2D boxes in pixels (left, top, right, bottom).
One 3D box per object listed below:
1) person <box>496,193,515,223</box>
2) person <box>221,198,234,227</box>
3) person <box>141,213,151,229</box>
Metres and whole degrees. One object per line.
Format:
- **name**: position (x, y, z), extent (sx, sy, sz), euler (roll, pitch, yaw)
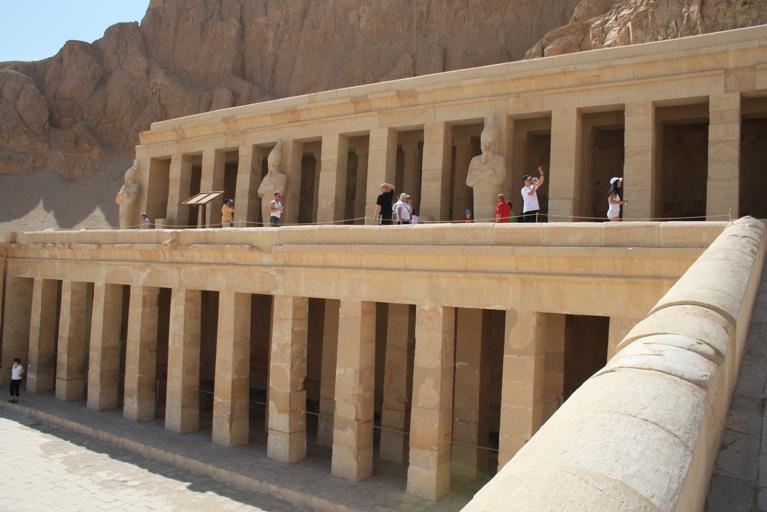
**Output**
- **person**: position (3.168, -1.274, 18.968), extent (0.373, 0.749, 0.577), euler (1, 12, 9)
- **person**: position (-5.080, -1.374, 23.585), extent (0.416, 1.070, 2.239), euler (-3, 12, -11)
- **person**: position (-8.682, -1.335, 26.397), extent (0.352, 0.518, 0.853), euler (-5, 13, -17)
